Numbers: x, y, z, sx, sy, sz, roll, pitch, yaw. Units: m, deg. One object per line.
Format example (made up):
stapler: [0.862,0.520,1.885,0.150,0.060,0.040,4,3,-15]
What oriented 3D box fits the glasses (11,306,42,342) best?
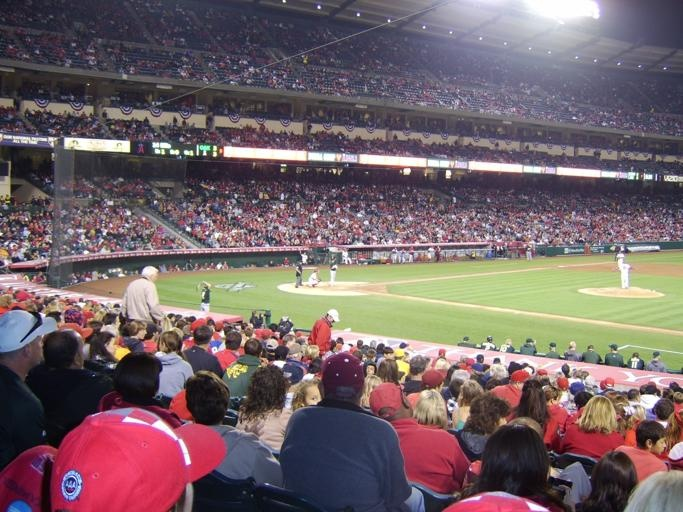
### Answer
glasses: [-3.761,0.813,9.082,0.319,0.088,0.234,-36,26,-13]

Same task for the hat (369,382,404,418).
hat: [0.626,1.926,10.369,0.486,0.415,0.827,-14,-11,10]

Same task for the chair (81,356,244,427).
chair: [-2.264,1.804,9.515,0.980,0.854,1.610,18,10,25]

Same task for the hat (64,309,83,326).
hat: [-5.174,1.199,14.687,0.295,0.388,0.408,4,8,-18]
